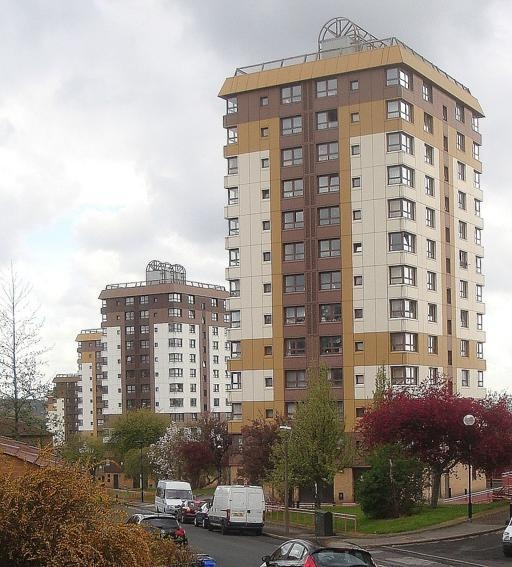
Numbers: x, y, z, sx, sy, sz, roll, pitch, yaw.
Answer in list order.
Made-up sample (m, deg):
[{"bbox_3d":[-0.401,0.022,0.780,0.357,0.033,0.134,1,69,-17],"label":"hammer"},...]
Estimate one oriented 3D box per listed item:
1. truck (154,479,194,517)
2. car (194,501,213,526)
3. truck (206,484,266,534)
[{"bbox_3d":[-4.673,12.281,61.190,1.863,2.056,1.819,2,-12,-26],"label":"truck"},{"bbox_3d":[-2.779,12.257,56.098,0.775,0.934,1.818,3,-7,-13],"label":"car"},{"bbox_3d":[-0.971,11.259,52.681,2.740,2.312,5.088,7,-15,-26],"label":"truck"}]
